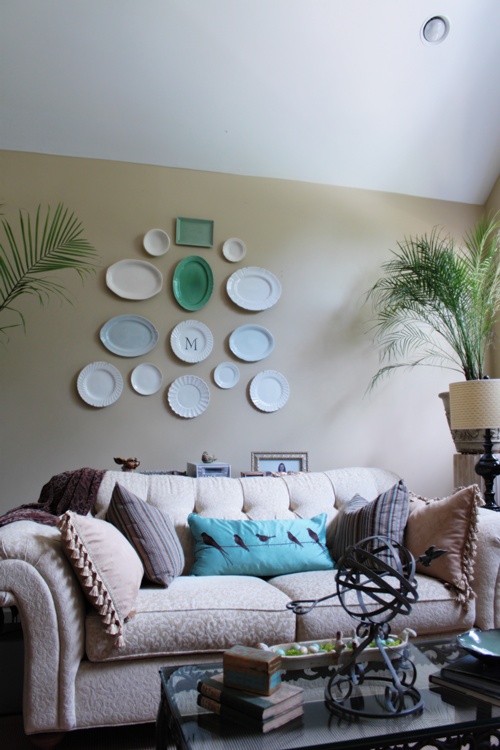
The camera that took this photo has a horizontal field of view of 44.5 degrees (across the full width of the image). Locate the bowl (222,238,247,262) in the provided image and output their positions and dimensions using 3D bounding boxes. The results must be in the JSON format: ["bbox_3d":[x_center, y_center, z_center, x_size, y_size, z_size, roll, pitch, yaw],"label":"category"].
[{"bbox_3d":[-0.101,-0.782,3.787,0.150,0.150,0.035,-3,1,-22],"label":"bowl"}]

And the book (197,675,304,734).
[{"bbox_3d":[-0.006,0.614,1.155,0.092,0.030,0.116,7,-6,-44],"label":"book"}]

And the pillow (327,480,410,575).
[{"bbox_3d":[0.419,0.545,2.179,0.126,0.296,0.360,22,-28,-30],"label":"pillow"}]

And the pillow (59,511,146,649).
[{"bbox_3d":[-0.417,0.585,1.805,0.174,0.366,0.344,-5,-11,7],"label":"pillow"}]
